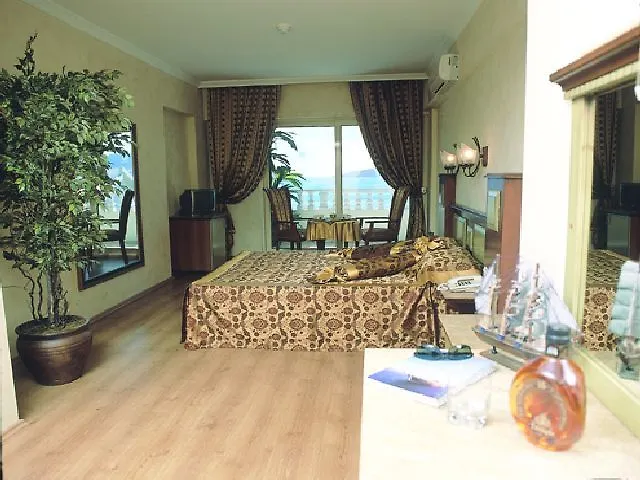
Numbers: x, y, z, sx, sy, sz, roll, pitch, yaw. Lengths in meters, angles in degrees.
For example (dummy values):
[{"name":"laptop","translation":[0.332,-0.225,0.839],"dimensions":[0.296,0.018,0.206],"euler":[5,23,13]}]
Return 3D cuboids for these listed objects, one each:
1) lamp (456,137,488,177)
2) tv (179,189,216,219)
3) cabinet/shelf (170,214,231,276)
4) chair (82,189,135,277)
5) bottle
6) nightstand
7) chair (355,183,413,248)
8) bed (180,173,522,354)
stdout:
[{"name":"lamp","translation":[1.558,-0.841,4.934],"dimensions":[0.266,0.432,0.356],"euler":[7,-8,2]},{"name":"tv","translation":[-1.793,-0.554,7.016],"dimensions":[0.411,0.335,0.421],"euler":[6,9,36]},{"name":"cabinet/shelf","translation":[-1.892,0.049,7.222],"dimensions":[0.952,0.764,0.547],"euler":[1,5,14]},{"name":"chair","translation":[-2.491,-0.115,5.666],"dimensions":[0.583,0.882,0.538],"euler":[-2,2,-41]},{"name":"bottle","translation":[0.709,0.451,1.467],"dimensions":[0.210,0.358,0.142],"euler":[-4,11,-16]},{"name":"nightstand","translation":[1.011,0.445,3.542],"dimensions":[0.550,0.552,0.420],"euler":[-1,7,4]},{"name":"chair","translation":[0.927,-0.269,7.479],"dimensions":[0.800,1.162,0.785],"euler":[4,8,11]},{"name":"bed","translation":[0.061,0.140,4.525],"dimensions":[2.072,1.297,1.390],"euler":[3,8,7]}]
